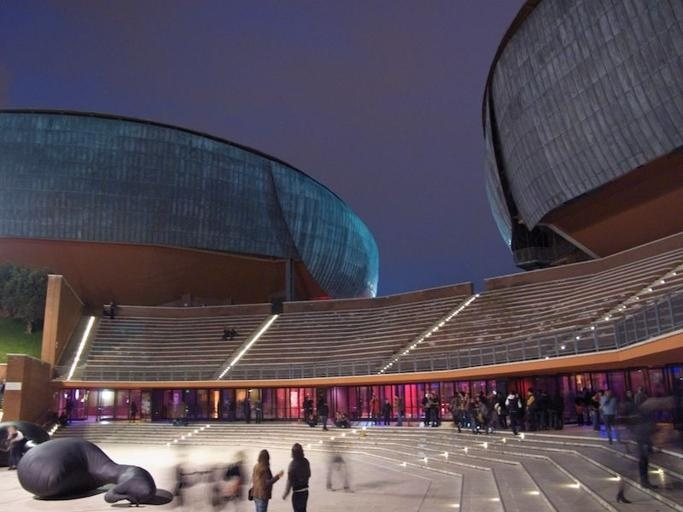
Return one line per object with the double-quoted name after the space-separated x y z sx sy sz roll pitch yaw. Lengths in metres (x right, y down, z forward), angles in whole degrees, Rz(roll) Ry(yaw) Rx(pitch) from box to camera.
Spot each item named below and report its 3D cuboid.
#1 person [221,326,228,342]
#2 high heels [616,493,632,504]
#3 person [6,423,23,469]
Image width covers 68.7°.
-10.081 6.638 43.300 0.426 1.467 0.579 5 -44 -7 "person"
5.301 4.536 9.397 0.223 0.171 0.305 -8 -13 18 "high heels"
-11.607 6.785 17.786 0.551 1.485 1.568 5 -15 -33 "person"
